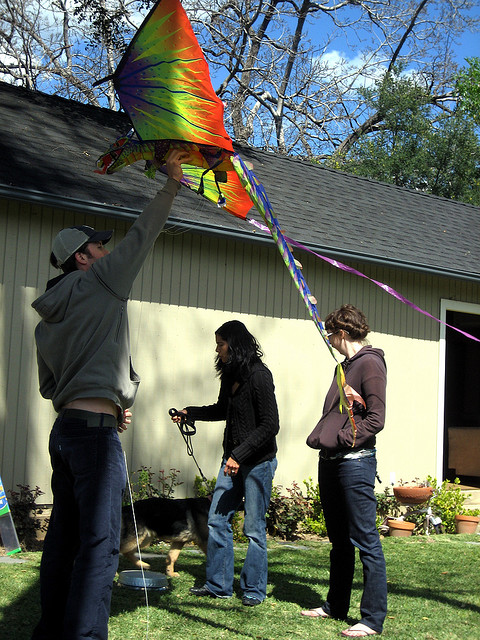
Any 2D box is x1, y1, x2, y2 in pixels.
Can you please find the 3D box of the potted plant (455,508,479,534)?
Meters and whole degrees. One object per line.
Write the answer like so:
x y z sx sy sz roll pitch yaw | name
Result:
2.673 2.382 7.836 0.256 0.190 0.248 3 -19 14 | potted plant

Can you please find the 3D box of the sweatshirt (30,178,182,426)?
-0.513 -0.104 2.506 0.521 0.904 0.339 -6 -15 41 | sweatshirt

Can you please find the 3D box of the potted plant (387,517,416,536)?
1.786 2.306 7.471 0.288 0.170 0.277 7 -13 -32 | potted plant

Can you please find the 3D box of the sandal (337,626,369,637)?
0.590 1.663 3.535 0.123 0.026 0.054 4 -7 -2 | sandal

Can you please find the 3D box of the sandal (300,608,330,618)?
0.427 1.729 3.903 0.109 0.026 0.164 9 -11 -29 | sandal

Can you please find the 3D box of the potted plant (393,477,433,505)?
2.049 2.032 7.841 0.378 0.178 0.359 0 -9 3 | potted plant

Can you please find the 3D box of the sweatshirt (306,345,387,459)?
0.652 0.489 3.914 0.417 0.657 0.690 7 -8 -16 | sweatshirt
